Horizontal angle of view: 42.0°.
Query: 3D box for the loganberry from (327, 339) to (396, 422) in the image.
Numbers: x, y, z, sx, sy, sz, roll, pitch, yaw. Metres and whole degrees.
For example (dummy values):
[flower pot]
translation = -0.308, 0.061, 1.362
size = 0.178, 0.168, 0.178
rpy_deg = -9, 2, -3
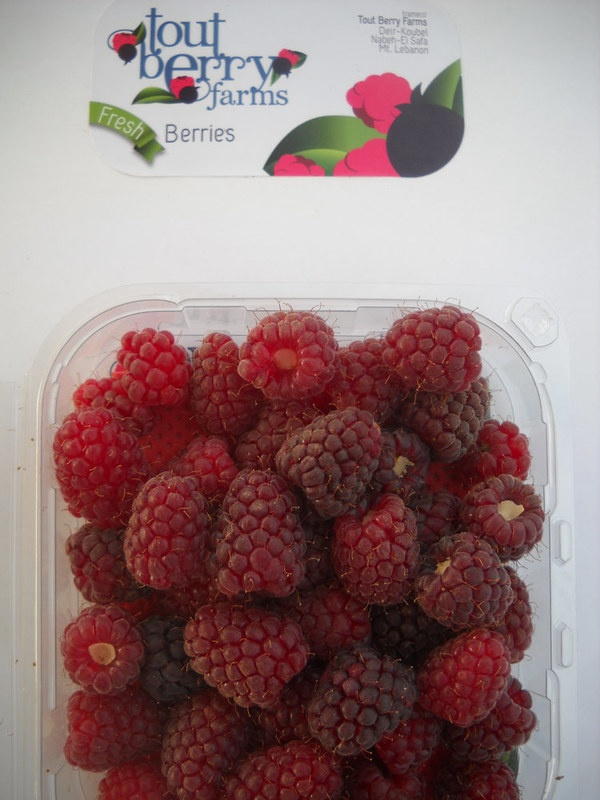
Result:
[loganberry]
translation = 0.086, -0.024, 1.100
size = 0.065, 0.069, 0.091
rpy_deg = -14, 39, 14
